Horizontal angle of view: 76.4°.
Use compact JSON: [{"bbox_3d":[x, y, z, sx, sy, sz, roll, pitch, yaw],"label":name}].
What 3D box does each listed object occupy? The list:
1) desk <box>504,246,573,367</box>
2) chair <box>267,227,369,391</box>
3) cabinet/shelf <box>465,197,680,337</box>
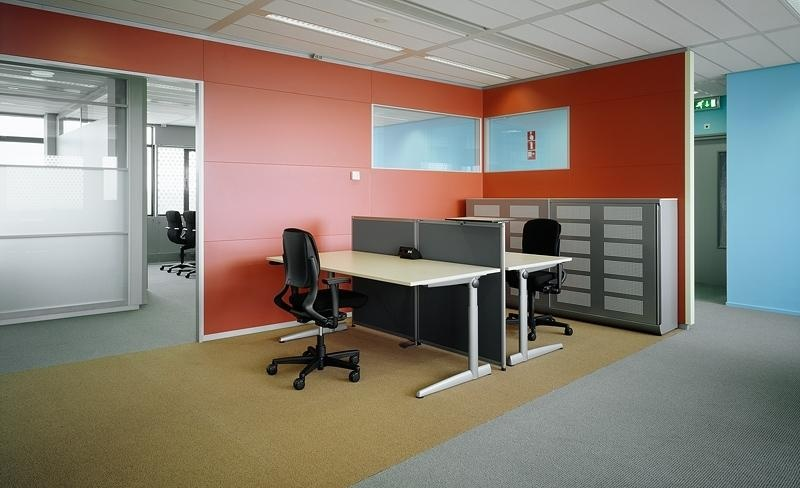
[{"bbox_3d":[1.639,0.734,6.956,1.407,1.157,1.653,-1,6,11],"label":"desk"},{"bbox_3d":[-1.050,0.678,5.964,1.114,1.745,0.886,-4,7,-16],"label":"chair"},{"bbox_3d":[2.653,0.259,8.211,0.677,1.558,2.995,-6,4,-38],"label":"cabinet/shelf"}]
